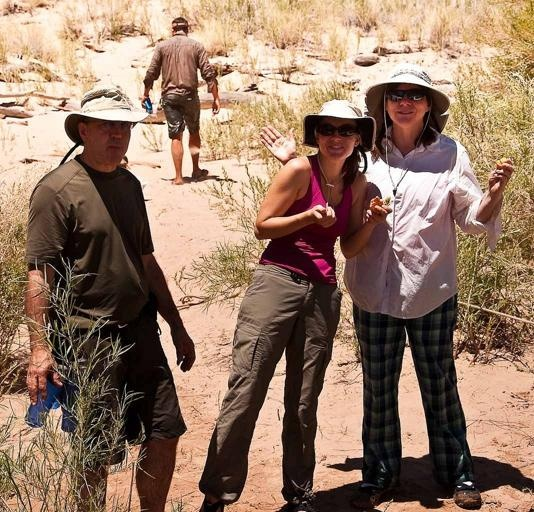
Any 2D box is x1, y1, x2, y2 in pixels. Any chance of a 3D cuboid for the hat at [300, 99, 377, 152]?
[{"bbox_3d":[0.350,-0.672,2.939,0.429,0.182,0.545,9,-2,9],"label":"hat"}]
